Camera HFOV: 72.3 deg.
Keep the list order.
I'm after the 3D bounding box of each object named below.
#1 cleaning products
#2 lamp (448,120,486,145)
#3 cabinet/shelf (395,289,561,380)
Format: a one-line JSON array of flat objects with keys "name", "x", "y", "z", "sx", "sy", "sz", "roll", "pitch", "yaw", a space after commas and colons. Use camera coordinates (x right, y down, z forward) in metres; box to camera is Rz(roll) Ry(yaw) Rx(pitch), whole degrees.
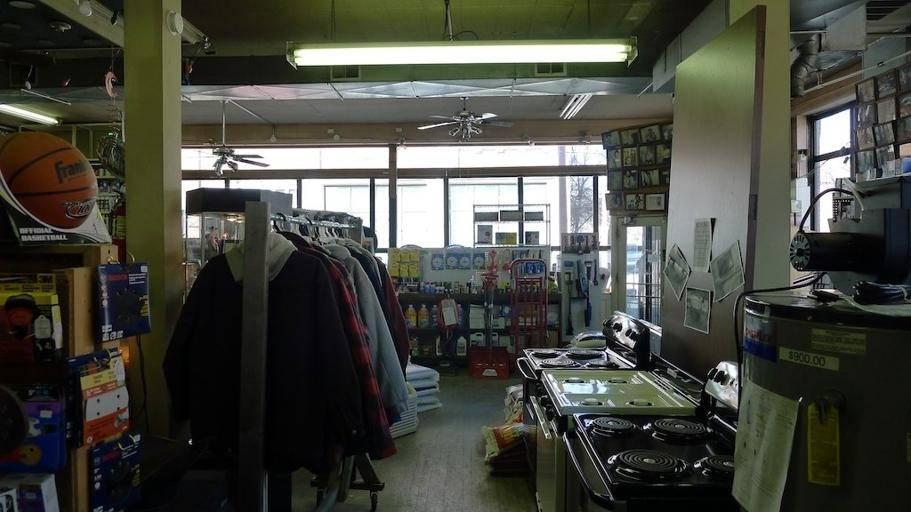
[{"name": "cleaning products", "x": -0.033, "y": 1.128, "z": 9.499, "sx": 1.109, "sy": 0.574, "sz": 0.308, "roll": -1, "pitch": -4, "yaw": -4}, {"name": "lamp", "x": 0.143, "y": -1.870, "z": 9.336, "sx": 0.599, "sy": 0.158, "sz": 0.562, "roll": -3, "pitch": 19, "yaw": -10}, {"name": "cabinet/shelf", "x": 0.309, "y": 1.106, "z": 9.592, "sx": 2.638, "sy": 1.129, "sz": 0.641, "roll": -1, "pitch": 5, "yaw": 1}]
